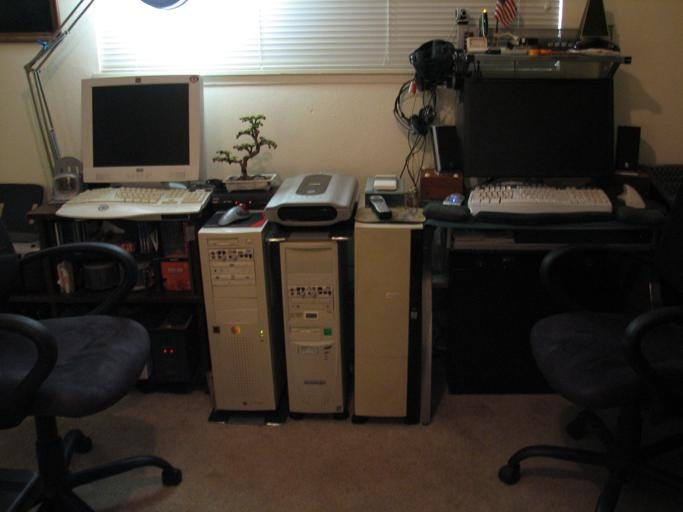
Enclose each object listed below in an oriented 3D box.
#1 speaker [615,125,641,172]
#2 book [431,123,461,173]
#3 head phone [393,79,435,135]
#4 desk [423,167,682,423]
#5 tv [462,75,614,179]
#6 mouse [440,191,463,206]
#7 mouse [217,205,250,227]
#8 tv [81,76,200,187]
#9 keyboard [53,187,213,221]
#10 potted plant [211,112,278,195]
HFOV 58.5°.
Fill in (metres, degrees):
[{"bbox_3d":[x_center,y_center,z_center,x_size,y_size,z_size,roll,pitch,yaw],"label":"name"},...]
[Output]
[{"bbox_3d":[1.423,-0.541,3.034,0.112,0.210,0.080,1,17,14],"label":"speaker"},{"bbox_3d":[0.526,-0.529,2.989,0.190,0.226,0.050,-4,-2,-18],"label":"book"},{"bbox_3d":[0.427,-0.833,3.240,0.194,0.202,0.151,5,10,-46],"label":"head phone"},{"bbox_3d":[0.929,-0.036,3.170,1.319,1.061,1.112,1,19,7],"label":"desk"},{"bbox_3d":[0.959,-0.626,2.960,0.758,0.572,0.057,1,-8,5],"label":"tv"},{"bbox_3d":[0.528,-0.268,2.867,0.073,0.021,0.089,4,34,24],"label":"mouse"},{"bbox_3d":[-0.496,-0.184,2.814,0.120,0.041,0.086,-27,36,-23],"label":"mouse"},{"bbox_3d":[-0.980,-0.635,3.011,0.461,0.435,0.172,0,7,2],"label":"tv"},{"bbox_3d":[-0.987,-0.248,2.921,0.676,0.111,0.300,0,19,9],"label":"keyboard"},{"bbox_3d":[-0.487,-0.532,3.129,0.294,0.383,0.255,-8,15,-20],"label":"potted plant"}]
